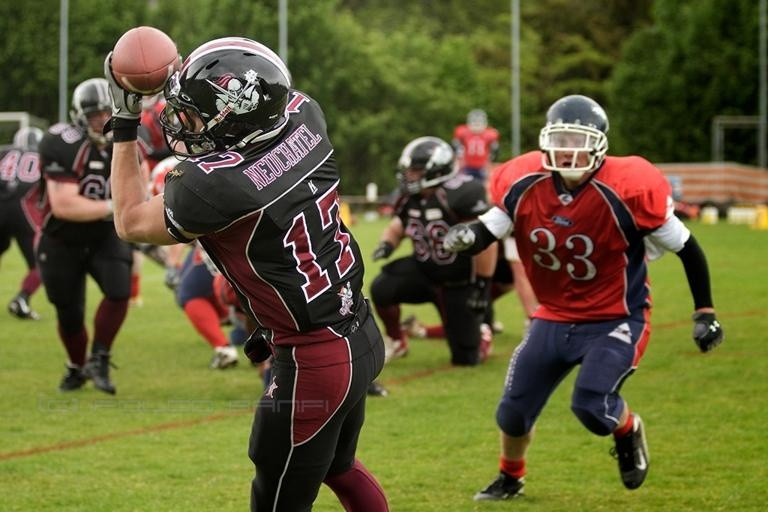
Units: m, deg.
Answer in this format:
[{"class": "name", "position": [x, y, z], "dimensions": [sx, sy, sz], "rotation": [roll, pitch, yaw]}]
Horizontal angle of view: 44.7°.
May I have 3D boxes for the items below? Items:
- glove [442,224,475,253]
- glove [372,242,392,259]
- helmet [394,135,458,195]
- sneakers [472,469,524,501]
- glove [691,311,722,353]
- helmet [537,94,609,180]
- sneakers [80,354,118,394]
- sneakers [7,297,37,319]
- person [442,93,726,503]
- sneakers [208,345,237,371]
[{"class": "glove", "position": [0.468, -0.107, 5.745], "dimensions": [0.195, 0.164, 0.154], "rotation": [-2, 9, 4]}, {"class": "glove", "position": [-0.001, -0.041, 8.841], "dimensions": [0.200, 0.085, 0.122], "rotation": [-34, 18, 26]}, {"class": "helmet", "position": [0.361, -0.848, 8.606], "dimensions": [0.574, 0.460, 0.439], "rotation": [-5, 24, -4]}, {"class": "sneakers", "position": [0.758, 1.485, 6.039], "dimensions": [0.376, 0.167, 0.134], "rotation": [-5, 3, -17]}, {"class": "glove", "position": [1.987, 0.466, 5.723], "dimensions": [0.166, 0.269, 0.204], "rotation": [1, 10, 18]}, {"class": "helmet", "position": [1.158, -0.719, 5.638], "dimensions": [0.430, 0.511, 0.524], "rotation": [0, 3, 22]}, {"class": "sneakers", "position": [-1.671, 0.670, 5.513], "dimensions": [0.117, 0.145, 0.330], "rotation": [-2, 28, -48]}, {"class": "sneakers", "position": [-2.306, 0.350, 5.923], "dimensions": [0.164, 0.068, 0.124], "rotation": [34, 29, -10]}, {"class": "person", "position": [1.249, 0.453, 5.819], "dimensions": [1.505, 2.160, 0.544], "rotation": [0, 10, 17]}, {"class": "sneakers", "position": [-1.439, 0.947, 8.655], "dimensions": [0.369, 0.125, 0.170], "rotation": [-7, -18, 19]}]
